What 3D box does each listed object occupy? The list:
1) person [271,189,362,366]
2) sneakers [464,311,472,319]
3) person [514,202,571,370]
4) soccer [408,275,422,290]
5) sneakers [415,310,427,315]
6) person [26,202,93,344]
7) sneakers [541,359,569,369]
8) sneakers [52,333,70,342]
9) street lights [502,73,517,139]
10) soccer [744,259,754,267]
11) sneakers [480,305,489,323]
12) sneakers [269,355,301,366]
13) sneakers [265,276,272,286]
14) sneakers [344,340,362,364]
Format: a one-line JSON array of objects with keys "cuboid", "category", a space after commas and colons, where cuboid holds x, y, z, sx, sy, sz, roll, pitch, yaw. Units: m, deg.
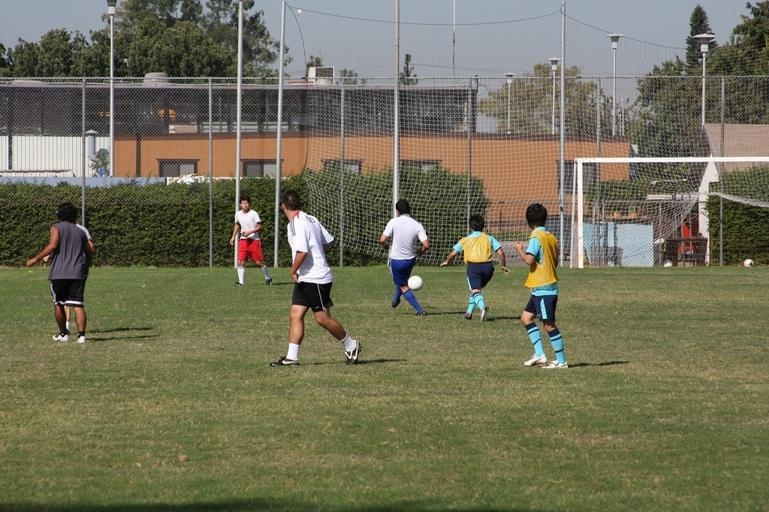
[{"cuboid": [-1.281, 0.396, 21.742, 1.506, 3.157, 1.124, 0, 3, -2], "category": "person"}, {"cuboid": [1.826, 1.284, 25.708, 0.173, 0.099, 0.237, 4, 1, 5], "category": "sneakers"}, {"cuboid": [2.920, 0.525, 21.909, 0.892, 2.968, 1.510, 0, 3, 8], "category": "person"}, {"cuboid": [0.696, 0.654, 27.415, 0.325, 0.173, 0.326, 15, 21, 34], "category": "soccer"}, {"cuboid": [0.821, 1.251, 26.254, 0.216, 0.097, 0.267, 0, 2, 0], "category": "sneakers"}, {"cuboid": [-6.229, 0.314, 23.390, 0.968, 2.734, 0.783, -1, 3, -7], "category": "person"}, {"cuboid": [3.098, 1.949, 21.590, 0.483, 0.169, 0.172, 2, -1, 7], "category": "sneakers"}, {"cuboid": [-6.341, 1.608, 23.397, 0.337, 0.147, 0.130, 5, 15, 38], "category": "sneakers"}, {"cuboid": [4.198, -4.953, 39.792, 0.261, 1.797, 0.430, 0, 3, 0], "category": "street lights"}, {"cuboid": [11.779, 0.204, 38.534, 0.280, 0.221, 0.571, 0, 3, 16], "category": "soccer"}, {"cuboid": [2.158, 1.231, 25.490, 0.135, 0.334, 0.157, -2, 16, -24], "category": "sneakers"}, {"cuboid": [-1.789, 1.902, 21.708, 0.563, 0.208, 0.187, 3, -2, 2], "category": "sneakers"}, {"cuboid": [-3.105, 0.677, 32.017, 0.220, 0.221, 0.629, -1, -4, -2], "category": "sneakers"}, {"cuboid": [-0.558, 1.734, 21.845, 0.274, 0.488, 0.196, 7, 15, -6], "category": "sneakers"}]
